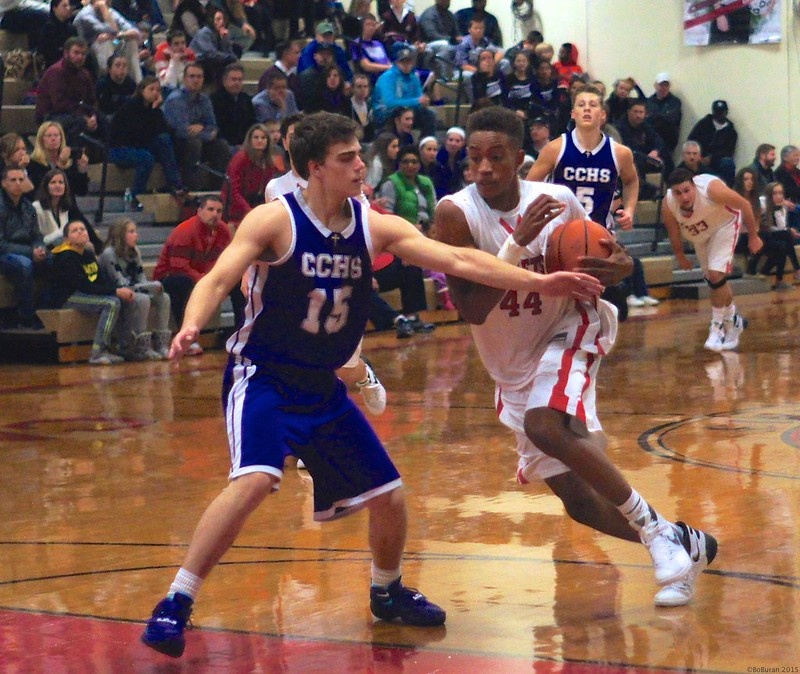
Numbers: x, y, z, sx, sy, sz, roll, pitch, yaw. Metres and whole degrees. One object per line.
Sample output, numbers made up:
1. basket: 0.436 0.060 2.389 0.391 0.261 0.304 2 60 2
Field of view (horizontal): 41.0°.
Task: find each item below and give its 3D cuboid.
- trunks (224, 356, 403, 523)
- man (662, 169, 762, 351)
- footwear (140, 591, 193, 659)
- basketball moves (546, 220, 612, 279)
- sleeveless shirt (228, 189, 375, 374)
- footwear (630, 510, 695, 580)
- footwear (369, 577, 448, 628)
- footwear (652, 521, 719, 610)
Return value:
1. trunks: -0.319 0.387 3.939 0.639 0.575 0.282 -3 1 -10
2. man: 3.139 -0.760 10.608 0.952 1.961 0.851 -24 17 -39
3. footwear: -0.770 0.967 3.603 0.103 0.125 0.278 20 4 -3
4. basketball moves: 0.718 -0.340 4.344 0.223 0.266 0.225 6 -1 18
5. sleeveless shirt: -0.375 -0.175 4.107 0.523 0.753 0.460 8 4 -11
6. footwear: 1.028 0.805 4.113 0.193 0.242 0.175 -2 1 4
7. footwear: 0.010 0.989 4.075 0.356 0.174 0.128 5 10 17
8. footwear: 1.126 0.873 4.137 0.147 0.193 0.452 -24 0 37
